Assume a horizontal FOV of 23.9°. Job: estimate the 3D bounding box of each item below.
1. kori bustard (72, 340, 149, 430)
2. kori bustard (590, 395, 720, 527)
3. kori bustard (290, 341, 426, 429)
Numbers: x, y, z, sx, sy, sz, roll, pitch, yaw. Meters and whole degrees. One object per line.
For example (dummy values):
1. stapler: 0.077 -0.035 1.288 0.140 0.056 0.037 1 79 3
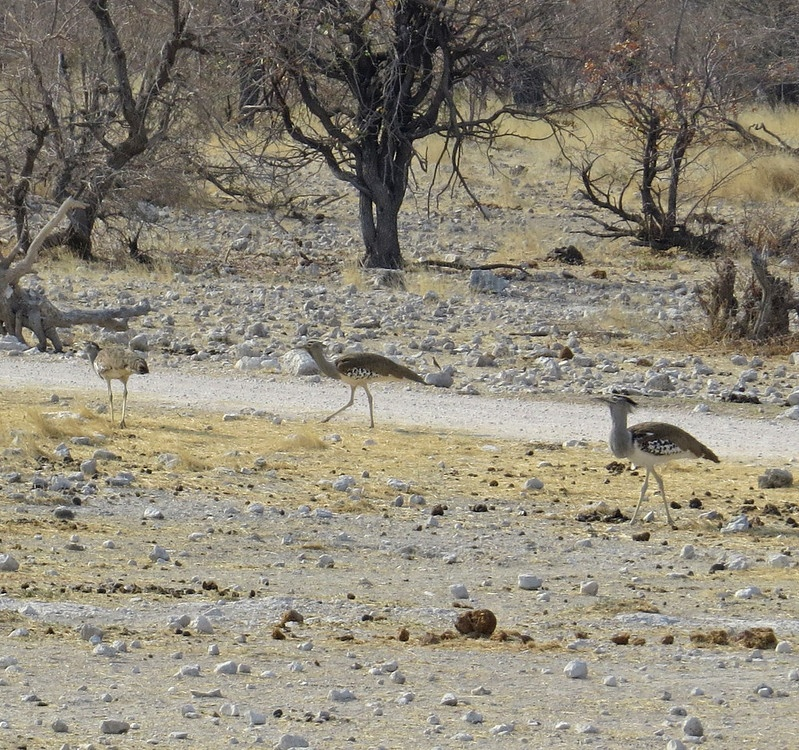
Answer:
1. kori bustard: -2.938 0.107 19.347 0.406 0.896 1.433 -3 3 -35
2. kori bustard: 2.332 0.728 17.081 0.821 1.149 1.458 0 5 12
3. kori bustard: -0.443 0.136 19.990 1.436 0.851 0.375 4 -1 -14
